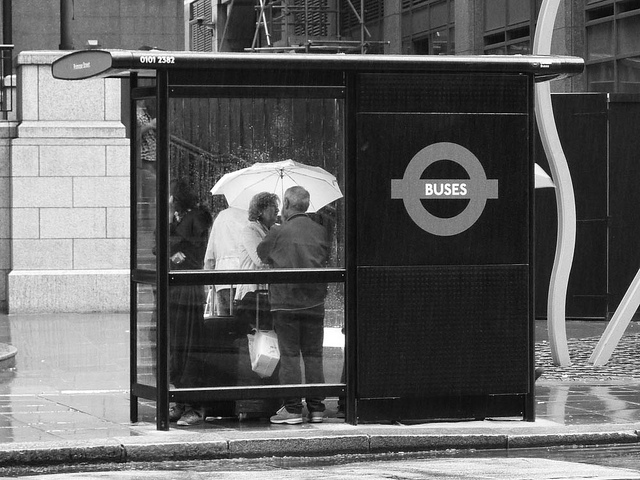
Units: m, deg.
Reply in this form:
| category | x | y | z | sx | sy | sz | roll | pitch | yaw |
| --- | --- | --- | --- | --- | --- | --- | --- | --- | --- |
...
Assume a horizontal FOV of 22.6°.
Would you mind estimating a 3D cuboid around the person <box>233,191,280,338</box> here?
| category | x | y | z | sx | sy | sz | roll | pitch | yaw |
| --- | --- | --- | --- | --- | --- | --- | --- | --- | --- |
| person | -0.791 | 0.310 | 19.532 | 0.474 | 1.695 | 0.189 | 3 | 0 | 4 |

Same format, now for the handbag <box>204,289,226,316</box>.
| category | x | y | z | sx | sy | sz | roll | pitch | yaw |
| --- | --- | --- | --- | --- | --- | --- | --- | --- | --- |
| handbag | -1.294 | 0.760 | 19.452 | 0.288 | 0.271 | 0.071 | 6 | 9 | -18 |
